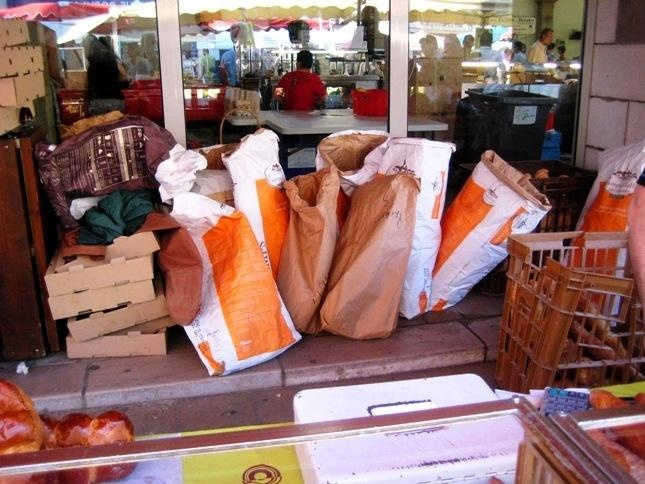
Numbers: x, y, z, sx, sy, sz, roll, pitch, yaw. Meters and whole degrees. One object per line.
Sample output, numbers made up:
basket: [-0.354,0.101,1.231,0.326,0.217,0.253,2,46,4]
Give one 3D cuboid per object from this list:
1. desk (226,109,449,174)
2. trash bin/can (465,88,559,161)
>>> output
desk: [0.106,-0.994,4.460,1.888,0.556,0.524,-5,19,-4]
trash bin/can: [1.728,-1.105,4.679,0.765,0.855,0.683,-3,18,-22]
